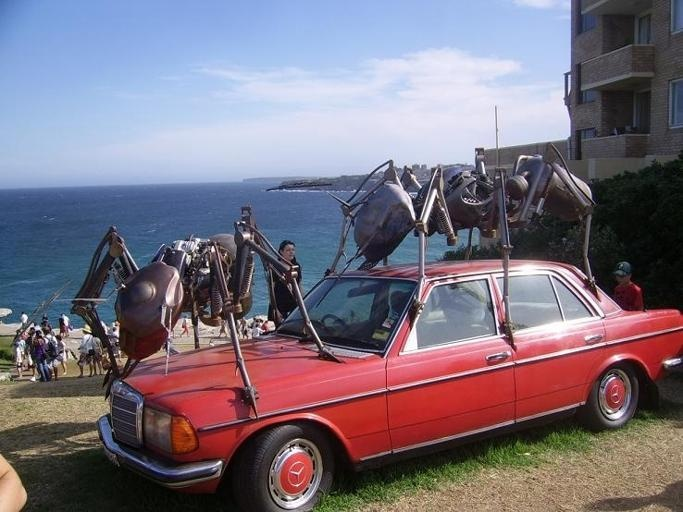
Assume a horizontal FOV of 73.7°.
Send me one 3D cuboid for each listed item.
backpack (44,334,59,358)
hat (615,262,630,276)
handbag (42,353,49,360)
[{"bbox_3d":[-11.037,3.422,17.203,0.470,0.826,0.744,-5,7,-29],"label":"backpack"},{"bbox_3d":[4.369,0.206,7.043,0.301,0.176,0.201,-9,7,-44],"label":"hat"},{"bbox_3d":[-10.996,3.692,16.849,0.107,0.306,0.235,-1,1,-11],"label":"handbag"}]
